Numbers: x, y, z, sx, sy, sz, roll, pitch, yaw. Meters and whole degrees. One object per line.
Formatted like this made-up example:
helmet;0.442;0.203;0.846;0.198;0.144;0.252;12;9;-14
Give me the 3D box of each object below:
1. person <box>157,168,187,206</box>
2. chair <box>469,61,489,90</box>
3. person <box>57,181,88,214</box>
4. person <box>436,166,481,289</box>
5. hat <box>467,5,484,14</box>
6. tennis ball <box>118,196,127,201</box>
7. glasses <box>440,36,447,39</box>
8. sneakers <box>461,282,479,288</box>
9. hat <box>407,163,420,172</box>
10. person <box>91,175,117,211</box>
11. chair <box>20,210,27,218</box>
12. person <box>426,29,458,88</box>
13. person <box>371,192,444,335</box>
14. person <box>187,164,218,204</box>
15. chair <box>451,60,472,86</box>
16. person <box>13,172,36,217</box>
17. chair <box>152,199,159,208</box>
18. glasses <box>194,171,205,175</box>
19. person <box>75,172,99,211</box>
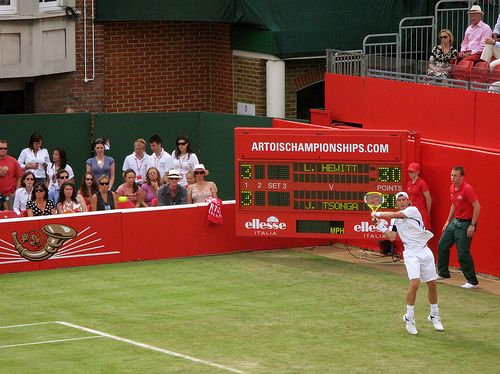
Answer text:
person;-1.711;0.028;26.953;0.790;1.156;0.711;0;7;-7
chair;4.981;-2.455;26.397;0.492;0.673;0.640;2;6;32
person;-3.893;0.372;26.267;0.654;0.881;0.450;-8;-11;-24
person;4.297;0.852;24.751;0.553;2.509;0.933;-3;5;-33
hat;5.267;-4.129;28.118;0.246;0.115;0.296;0;4;2
tennis ball;-2.813;0.298;26.918;0.112;0.122;0.121;17;-15;5
glasses;4.478;-3.471;27.903;0.093;0.077;0.230;-2;4;-26
sneakers;4.524;2.039;24.762;0.327;0.132;0.123;2;-1;9
hat;3.489;-0.392;25.725;0.275;0.188;0.230;2;4;25
person;-3.165;0.150;26.403;0.478;0.778;0.623;0;4;8
chair;-4.878;0.599;26.013;0.143;0.190;0.191;-1;5;-25
person;4.421;-3.030;27.700;0.670;1.180;1.609;1;4;9
person;3.047;1.455;22.459;1.136;2.618;0.707;1;4;10
person;-1.062;0.028;27.123;0.701;1.019;0.547;-3;1;2
chair;4.640;-2.601;26.818;0.378;0.483;0.358;-7;-18;-18
person;-4.844;0.255;26.435;0.576;1.108;0.604;-1;12;-28
chair;-2.096;0.386;27.124;0.137;0.182;0.173;4;-18;41
glasses;-1.091;-0.292;26.935;0.219;0.086;0.158;0;4;-2
person;-3.536;0.261;26.660;0.508;1.143;0.279;-3;14;-22
